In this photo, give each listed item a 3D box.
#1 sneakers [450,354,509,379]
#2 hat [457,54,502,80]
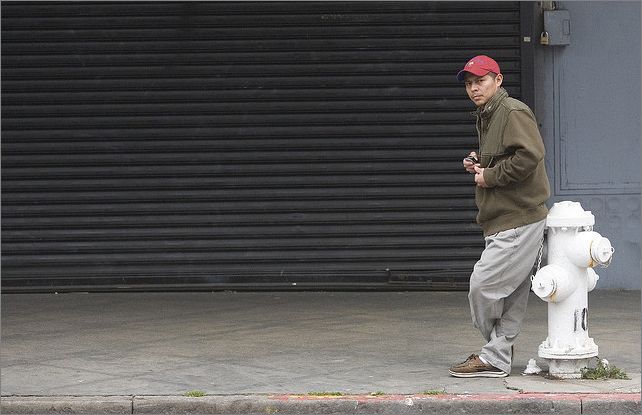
[{"bbox_3d":[1.593,1.676,12.452,0.718,0.196,0.216,3,-9,-1],"label":"sneakers"},{"bbox_3d":[1.648,-1.504,12.485,0.382,0.189,0.424,9,15,20],"label":"hat"}]
